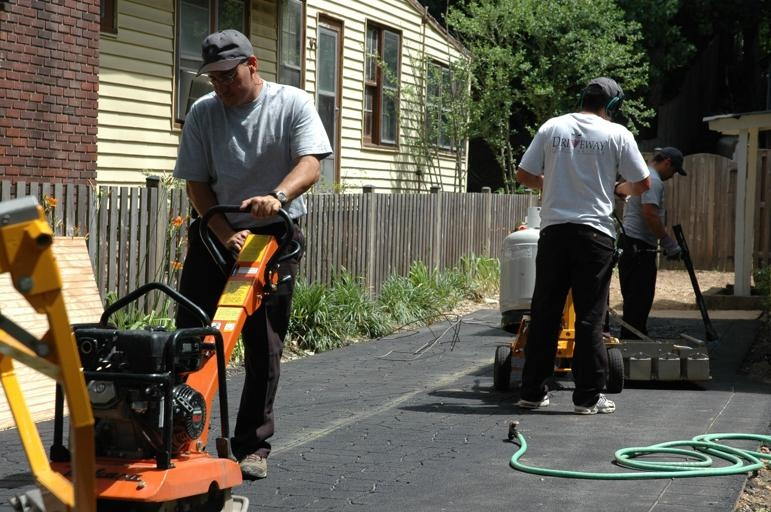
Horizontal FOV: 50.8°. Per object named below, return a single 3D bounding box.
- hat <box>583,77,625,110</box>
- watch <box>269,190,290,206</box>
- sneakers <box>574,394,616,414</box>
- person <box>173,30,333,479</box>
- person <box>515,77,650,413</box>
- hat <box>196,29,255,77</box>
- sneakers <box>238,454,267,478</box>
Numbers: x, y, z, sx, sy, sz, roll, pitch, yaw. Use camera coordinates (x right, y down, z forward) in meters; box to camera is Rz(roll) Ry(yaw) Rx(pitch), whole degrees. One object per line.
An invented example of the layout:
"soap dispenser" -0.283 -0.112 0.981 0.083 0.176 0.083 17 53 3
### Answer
"hat" 2.059 -1.531 7.572 0.282 0.335 0.362 19 28 9
"watch" -0.693 -0.384 5.271 0.086 0.054 0.084 38 -16 12
"sneakers" 1.913 1.338 7.334 0.379 0.186 0.156 -4 1 -24
"person" -0.924 0.031 5.687 1.357 2.975 1.182 9 9 32
"person" 1.848 -0.130 7.592 1.101 2.970 0.954 5 11 22
"hat" -1.091 -1.364 5.406 0.308 0.241 0.454 -3 24 22
"sneakers" -0.906 1.454 5.662 0.094 0.195 0.232 -1 3 41
